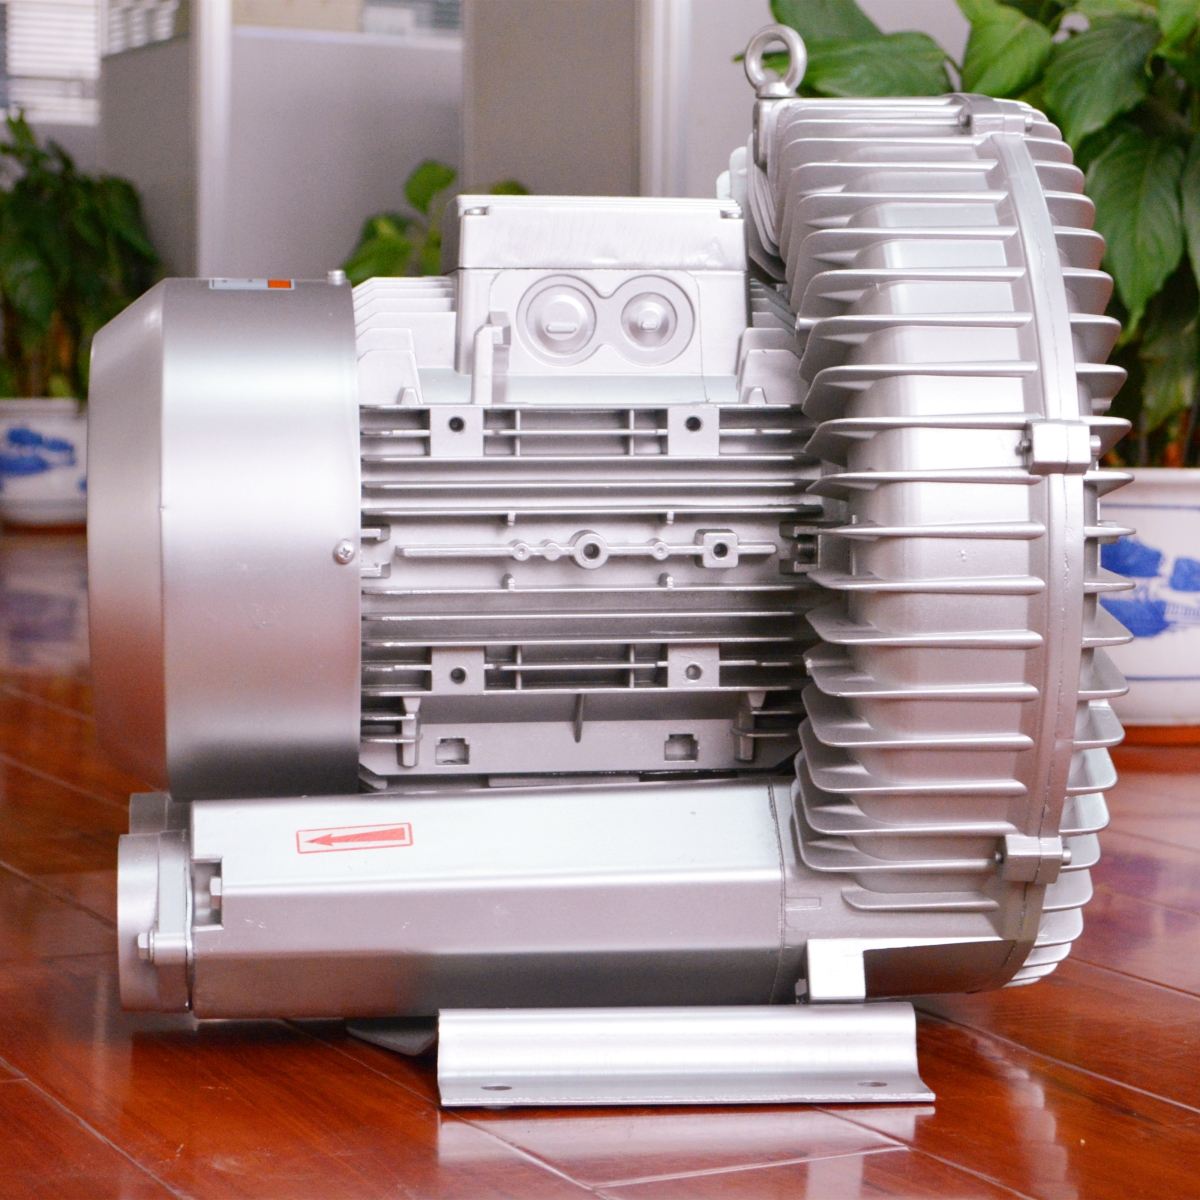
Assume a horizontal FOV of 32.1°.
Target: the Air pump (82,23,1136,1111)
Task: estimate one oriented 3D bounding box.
[{"bbox_3d":[0.015,-0.030,1.919,0.869,0.872,0.890,0,24,0],"label":"Air pump"}]
